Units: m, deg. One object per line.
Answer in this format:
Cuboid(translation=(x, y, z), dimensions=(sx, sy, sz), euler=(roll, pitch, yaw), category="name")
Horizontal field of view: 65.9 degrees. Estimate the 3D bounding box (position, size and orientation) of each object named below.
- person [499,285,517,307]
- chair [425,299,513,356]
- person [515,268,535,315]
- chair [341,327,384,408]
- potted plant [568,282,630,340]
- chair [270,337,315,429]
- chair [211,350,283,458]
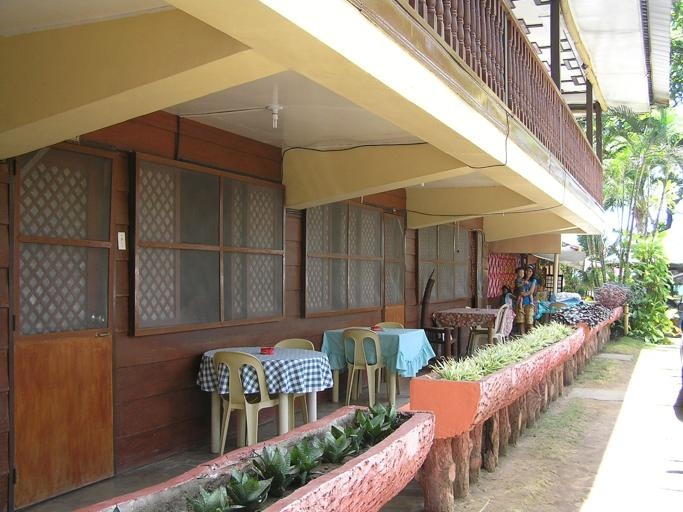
Cuboid(translation=(4.005, 0.964, 12.722), dimensions=(0.296, 0.333, 0.935), euler=(-19, 0, 12), category="person")
Cuboid(translation=(2.548, 1.189, 9.827), dimensions=(1.084, 0.911, 1.132), euler=(-1, -2, 31), category="chair")
Cuboid(translation=(4.240, 0.885, 12.173), dimensions=(0.361, 1.322, 0.349), euler=(8, 2, 32), category="person")
Cuboid(translation=(0.262, 1.414, 6.680), dimensions=(0.501, 0.988, 0.995), euler=(1, 0, 2), category="chair")
Cuboid(translation=(6.217, 1.324, 12.575), dimensions=(0.538, 1.158, 0.883), euler=(31, -25, -29), category="potted plant")
Cuboid(translation=(-0.490, 1.400, 5.138), dimensions=(0.359, 0.532, 0.357), euler=(-10, -10, -1), category="chair")
Cuboid(translation=(-0.875, 1.421, 4.999), dimensions=(0.527, 0.975, 0.600), euler=(-3, -8, 9), category="chair")
